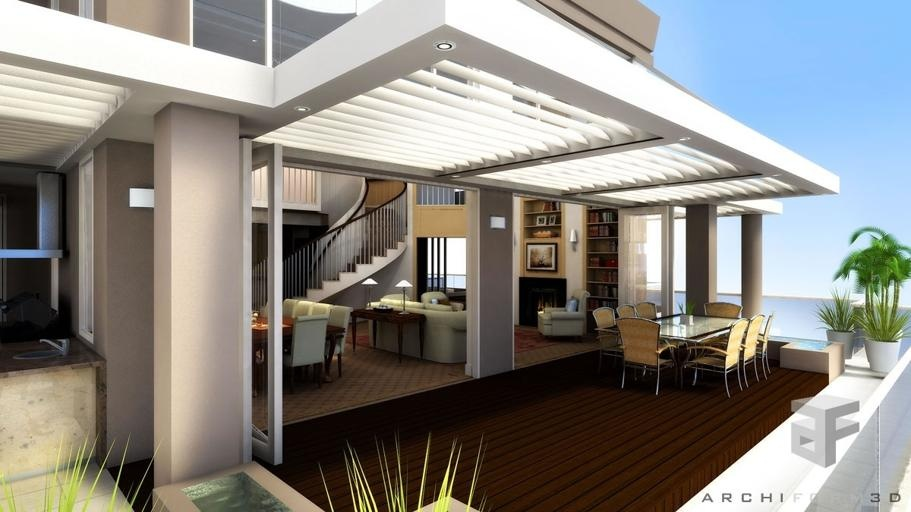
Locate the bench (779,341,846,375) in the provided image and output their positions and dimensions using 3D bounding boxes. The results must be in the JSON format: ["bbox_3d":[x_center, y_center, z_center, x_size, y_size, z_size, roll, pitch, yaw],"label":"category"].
[{"bbox_3d":[7.357,2.139,11.111,1.399,0.597,0.923,-10,16,-43],"label":"bench"}]

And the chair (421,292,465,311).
[{"bbox_3d":[-0.390,1.222,13.465,0.739,0.738,0.693,-3,-3,39],"label":"chair"}]

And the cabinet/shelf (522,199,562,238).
[{"bbox_3d":[2.451,-1.079,15.248,1.241,1.071,0.407,-3,-6,43],"label":"cabinet/shelf"}]

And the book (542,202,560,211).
[{"bbox_3d":[2.712,-1.407,15.261,0.634,0.259,0.145,10,15,38],"label":"book"}]

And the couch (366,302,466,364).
[{"bbox_3d":[-0.682,1.649,11.744,2.134,1.263,0.645,11,16,38],"label":"couch"}]

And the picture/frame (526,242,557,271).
[{"bbox_3d":[2.449,0.026,15.301,0.900,0.656,0.067,3,3,40],"label":"picture/frame"}]

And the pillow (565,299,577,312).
[{"bbox_3d":[2.983,1.308,13.946,0.125,0.252,0.321,0,-1,-26],"label":"pillow"}]

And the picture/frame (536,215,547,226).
[{"bbox_3d":[2.438,-0.997,15.340,0.108,0.237,0.299,11,-14,-42],"label":"picture/frame"}]

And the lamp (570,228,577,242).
[{"bbox_3d":[3.199,-0.529,14.629,0.200,0.354,0.127,4,13,11],"label":"lamp"}]

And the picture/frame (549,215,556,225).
[{"bbox_3d":[2.711,-1.006,15.189,0.037,0.309,0.283,8,-9,-40],"label":"picture/frame"}]

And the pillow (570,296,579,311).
[{"bbox_3d":[3.040,1.261,13.925,0.119,0.267,0.294,21,-21,-40],"label":"pillow"}]

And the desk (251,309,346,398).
[{"bbox_3d":[-2.729,1.538,9.435,1.450,0.602,2.112,-1,1,-40],"label":"desk"}]

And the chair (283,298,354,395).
[{"bbox_3d":[-2.604,1.603,10.163,1.394,1.252,2.050,2,-3,-28],"label":"chair"}]
